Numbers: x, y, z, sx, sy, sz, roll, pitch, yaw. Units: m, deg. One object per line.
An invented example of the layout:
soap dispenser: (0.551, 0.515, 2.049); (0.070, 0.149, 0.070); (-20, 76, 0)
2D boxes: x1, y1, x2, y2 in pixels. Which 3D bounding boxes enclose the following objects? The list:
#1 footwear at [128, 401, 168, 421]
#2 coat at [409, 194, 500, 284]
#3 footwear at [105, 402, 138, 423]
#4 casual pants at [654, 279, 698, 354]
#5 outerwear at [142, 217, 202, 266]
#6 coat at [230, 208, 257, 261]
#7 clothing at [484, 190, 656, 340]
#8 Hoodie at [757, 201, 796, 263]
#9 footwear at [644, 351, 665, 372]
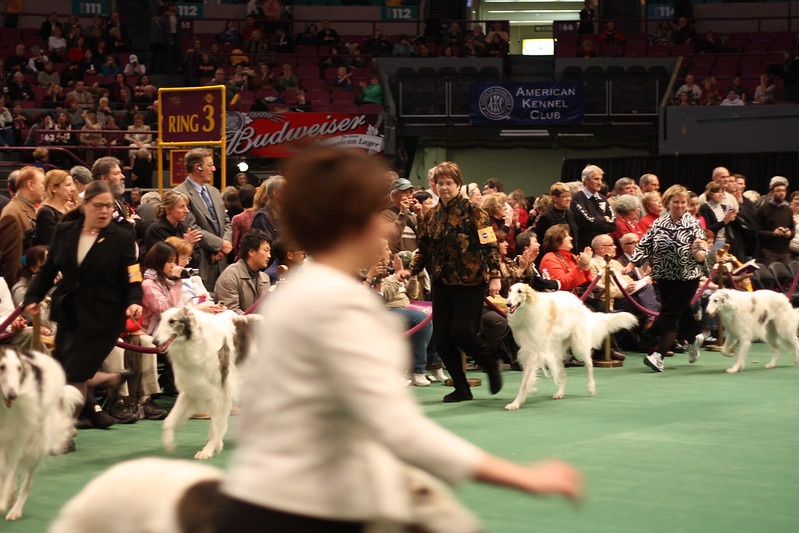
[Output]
footwear: (-2.781, 1.572, 7.866); (0.489, 0.184, 0.162); (1, 1, -6)
coat: (0.618, -0.290, 8.379); (1.440, 1.045, 0.756); (-3, -7, 37)
footwear: (-3.006, 1.567, 7.679); (0.367, 0.144, 0.160); (10, 22, 22)
casual pants: (4.044, 0.733, 10.413); (0.584, 1.150, 0.925); (2, 2, 19)
outerwear: (-2.799, -0.302, 8.921); (0.741, 0.609, 0.526); (0, 3, -39)
coat: (-2.336, -0.464, 10.366); (0.258, 0.428, 0.367); (5, 10, -42)
clothing: (2.648, -0.017, 11.337); (1.758, 2.408, 1.394); (-4, -2, 12)
Hoodie: (7.293, -0.669, 13.625); (0.879, 1.228, 0.435); (1, 2, -18)
footwear: (3.667, 1.368, 10.321); (0.225, 0.154, 0.422); (-5, 7, -17)
